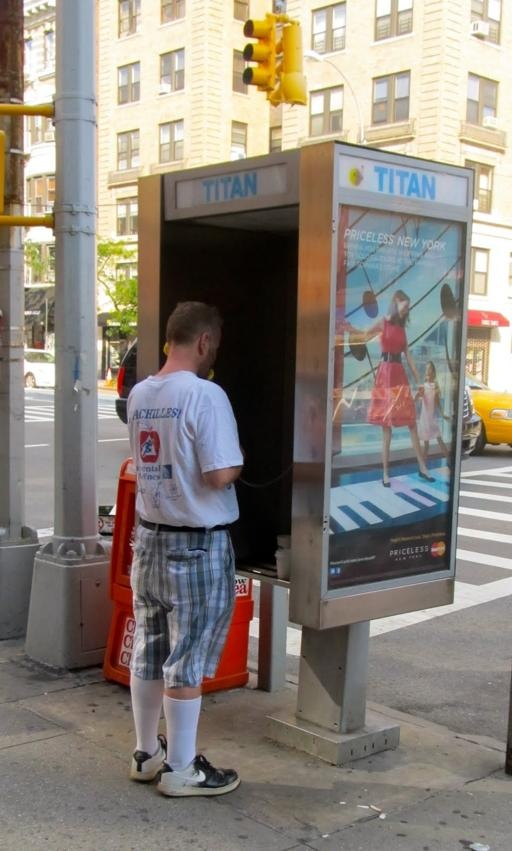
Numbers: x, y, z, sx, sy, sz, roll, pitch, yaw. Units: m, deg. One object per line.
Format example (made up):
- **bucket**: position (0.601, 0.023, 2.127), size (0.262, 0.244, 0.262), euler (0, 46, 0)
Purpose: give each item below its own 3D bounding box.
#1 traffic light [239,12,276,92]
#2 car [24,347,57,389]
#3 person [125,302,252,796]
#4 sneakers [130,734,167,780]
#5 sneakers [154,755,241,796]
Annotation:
- **traffic light**: position (0.061, -4.148, 9.712), size (0.367, 0.870, 0.949), euler (2, 0, 1)
- **car**: position (-8.419, -2.210, 34.228), size (1.038, 1.530, 2.550), euler (2, 0, -17)
- **person**: position (-0.283, 0.568, 3.219), size (0.477, 1.670, 0.350), euler (2, 0, 16)
- **sneakers**: position (-0.398, 1.253, 3.369), size (0.076, 0.103, 0.209), euler (1, 4, 12)
- **sneakers**: position (-0.212, 1.255, 3.243), size (0.299, 0.150, 0.127), euler (2, -7, -20)
